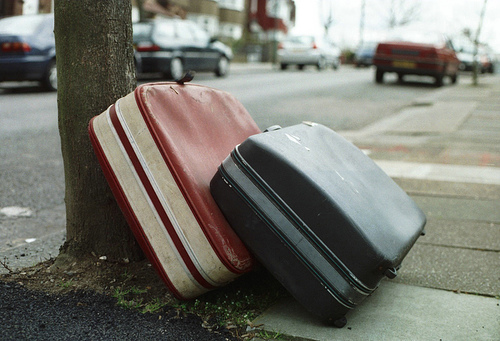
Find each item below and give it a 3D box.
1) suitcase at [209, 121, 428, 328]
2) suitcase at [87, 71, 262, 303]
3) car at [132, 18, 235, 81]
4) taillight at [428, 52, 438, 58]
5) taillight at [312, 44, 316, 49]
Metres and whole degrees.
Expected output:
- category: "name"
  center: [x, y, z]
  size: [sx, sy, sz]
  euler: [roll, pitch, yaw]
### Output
- category: "suitcase"
  center: [0.379, 0.484, 4.188]
  size: [1.388, 0.675, 1.232]
  euler: [49, 18, 18]
- category: "suitcase"
  center: [-0.493, 0.169, 4.375]
  size: [0.433, 1.613, 1.553]
  euler: [-29, 50, 7]
- category: "car"
  center: [-1.656, -2.723, 14.707]
  size: [1.778, 1.496, 3.794]
  euler: [7, 13, 32]
- category: "taillight"
  center: [1.398, -0.873, 4.697]
  size: [0.072, 0.043, 0.018]
  euler: [1, 18, 14]
- category: "taillight"
  center: [1.478, -2.807, 14.088]
  size: [0.019, 0.086, 0.086]
  euler: [1, -21, 24]
